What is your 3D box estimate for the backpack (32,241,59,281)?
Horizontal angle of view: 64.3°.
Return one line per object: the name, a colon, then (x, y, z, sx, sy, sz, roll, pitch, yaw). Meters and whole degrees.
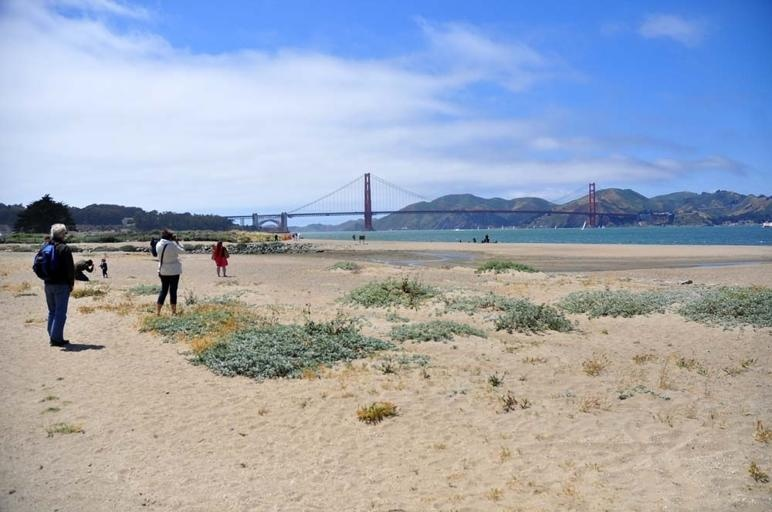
backpack: (-9.040, 0.129, 16.289, 0.537, 1.064, 0.413, -2, 5, -29)
